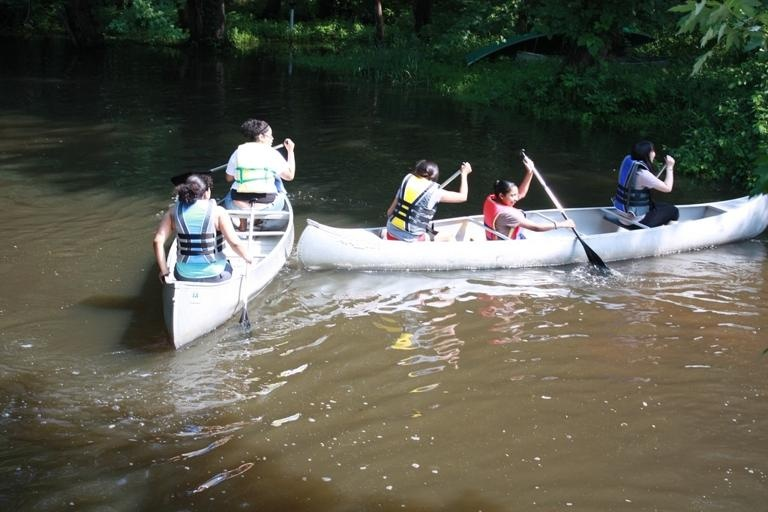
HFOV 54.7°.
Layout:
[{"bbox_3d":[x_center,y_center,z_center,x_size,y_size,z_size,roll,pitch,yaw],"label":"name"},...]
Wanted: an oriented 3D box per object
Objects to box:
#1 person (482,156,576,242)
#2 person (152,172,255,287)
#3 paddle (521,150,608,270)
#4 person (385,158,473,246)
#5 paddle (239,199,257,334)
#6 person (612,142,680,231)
[{"bbox_3d":[2.462,-0.952,12.631,1.136,0.672,1.696,-17,-29,3],"label":"person"},{"bbox_3d":[-2.243,-0.347,9.027,1.038,1.357,0.387,-2,15,-10],"label":"person"},{"bbox_3d":[3.070,-0.761,12.678,0.283,0.363,3.137,17,35,-56],"label":"paddle"},{"bbox_3d":[0.563,-0.779,10.590,1.160,1.180,0.505,0,15,-3],"label":"person"},{"bbox_3d":[-1.811,0.098,9.634,0.103,1.799,0.224,0,-1,44],"label":"paddle"},{"bbox_3d":[4.219,-1.025,11.921,1.050,1.543,0.830,-16,22,-14],"label":"person"}]
